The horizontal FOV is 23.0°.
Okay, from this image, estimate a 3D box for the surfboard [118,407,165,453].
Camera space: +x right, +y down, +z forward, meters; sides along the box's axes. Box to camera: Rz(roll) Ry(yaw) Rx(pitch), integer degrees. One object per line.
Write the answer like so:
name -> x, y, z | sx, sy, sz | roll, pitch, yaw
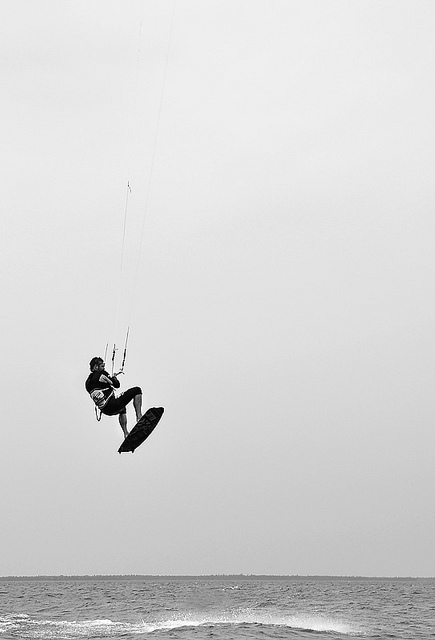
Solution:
surfboard -> -2.116, 3.087, 29.543 | 0.622, 0.977, 1.634 | 12, -24, -29
